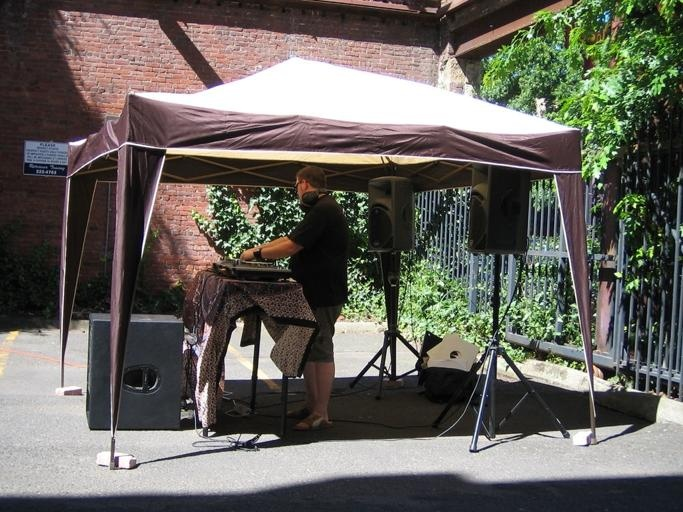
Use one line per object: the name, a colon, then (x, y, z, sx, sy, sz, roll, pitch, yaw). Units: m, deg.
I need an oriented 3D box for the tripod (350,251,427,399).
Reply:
tripod: (0.598, 0.782, 9.428, 0.794, 1.901, 2.169, 2, 8, 6)

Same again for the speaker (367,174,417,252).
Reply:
speaker: (0.528, -0.457, 8.311, 0.484, 0.813, 0.493, 1, 3, 25)

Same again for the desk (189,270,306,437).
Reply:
desk: (-1.127, 0.909, 7.773, 0.906, 1.455, 2.342, 0, 0, -22)

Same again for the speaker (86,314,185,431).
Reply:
speaker: (-2.009, 1.166, 7.554, 1.024, 1.038, 1.112, 4, 0, -4)

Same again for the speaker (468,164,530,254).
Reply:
speaker: (1.558, -0.459, 7.420, 0.563, 0.880, 0.572, 2, -5, 33)

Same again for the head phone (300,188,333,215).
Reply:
head phone: (-0.252, -0.558, 7.483, 0.263, 0.139, 0.207, -24, 0, -34)

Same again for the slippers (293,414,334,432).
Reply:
slippers: (-0.291, 1.667, 7.379, 0.281, 0.125, 0.140, 4, -7, -16)

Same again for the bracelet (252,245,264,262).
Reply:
bracelet: (-0.806, -0.010, 7.192, 0.090, 0.159, 0.258, 1, 8, -5)
